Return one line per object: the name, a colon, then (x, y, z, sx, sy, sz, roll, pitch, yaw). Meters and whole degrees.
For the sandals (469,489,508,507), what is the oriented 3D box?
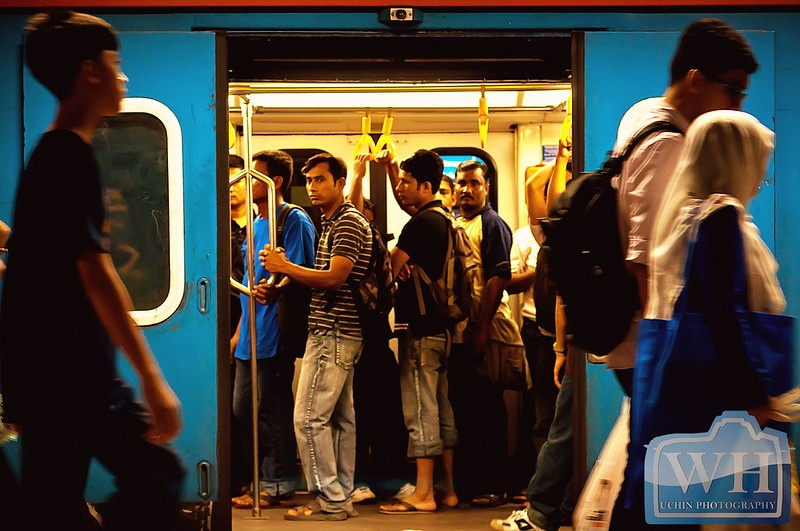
sandals: (0.611, 1.603, 5.806, 0.239, 0.076, 0.093, 3, -4, -11)

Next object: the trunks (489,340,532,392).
trunks: (0.771, 0.705, 6.037, 0.318, 0.446, 0.232, 7, -12, -12)

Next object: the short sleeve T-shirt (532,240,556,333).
short sleeve T-shirt: (0.979, 0.159, 5.598, 0.192, 0.624, 0.170, -1, 16, 24)

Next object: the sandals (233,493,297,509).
sandals: (-0.938, 1.614, 5.785, 0.390, 0.104, 0.149, 4, -1, -7)

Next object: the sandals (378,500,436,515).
sandals: (0.036, 1.636, 5.701, 0.349, 0.085, 0.139, 3, -12, 5)

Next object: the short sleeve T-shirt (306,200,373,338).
short sleeve T-shirt: (-0.397, 0.055, 5.569, 0.470, 1.120, 0.842, 3, -5, 3)
